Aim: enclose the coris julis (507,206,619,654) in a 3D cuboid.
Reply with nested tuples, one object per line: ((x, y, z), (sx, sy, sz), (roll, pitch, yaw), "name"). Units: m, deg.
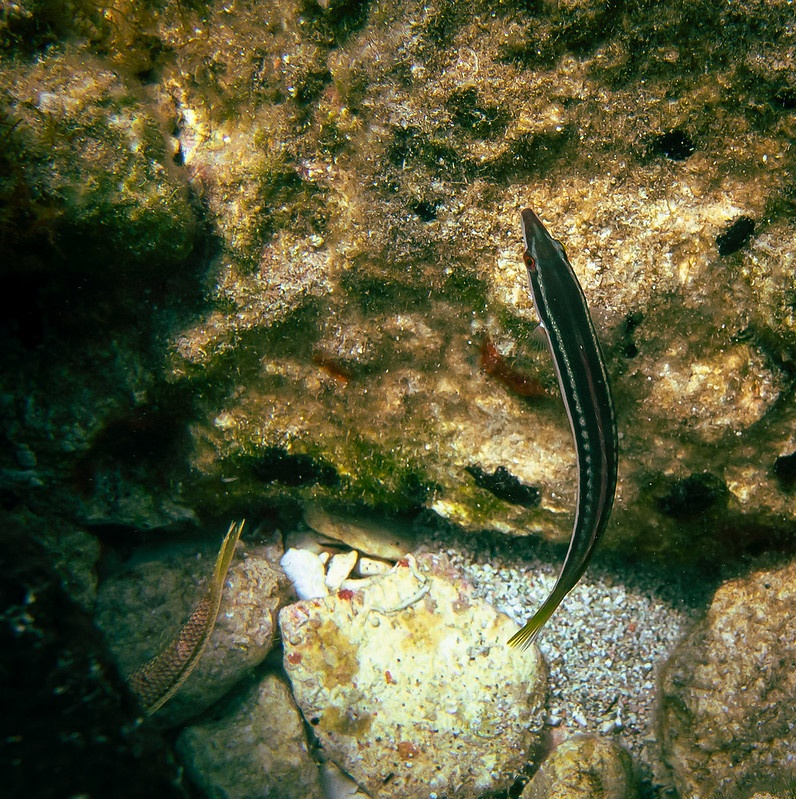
((0.889, 0.122, 5.588), (0.456, 0.418, 1.935), (-1, 100, 5), "coris julis")
